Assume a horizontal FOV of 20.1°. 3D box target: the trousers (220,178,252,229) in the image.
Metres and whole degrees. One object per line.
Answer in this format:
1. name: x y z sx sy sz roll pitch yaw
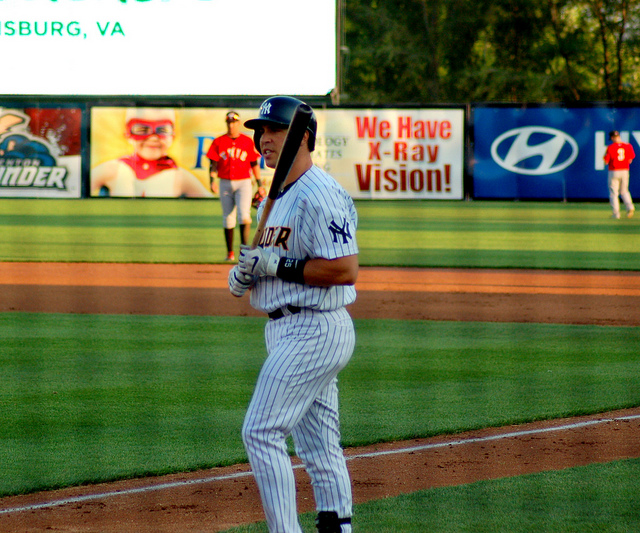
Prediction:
1. trousers: -1.534 -1.119 32.143 0.556 1.318 0.383 -4 -35 0

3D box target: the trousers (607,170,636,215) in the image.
1. trousers: 6.569 -1.623 39.479 0.498 0.952 1.397 -1 2 10

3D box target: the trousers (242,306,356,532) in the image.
1. trousers: -0.261 2.008 23.415 1.431 2.940 0.426 -2 2 -5
